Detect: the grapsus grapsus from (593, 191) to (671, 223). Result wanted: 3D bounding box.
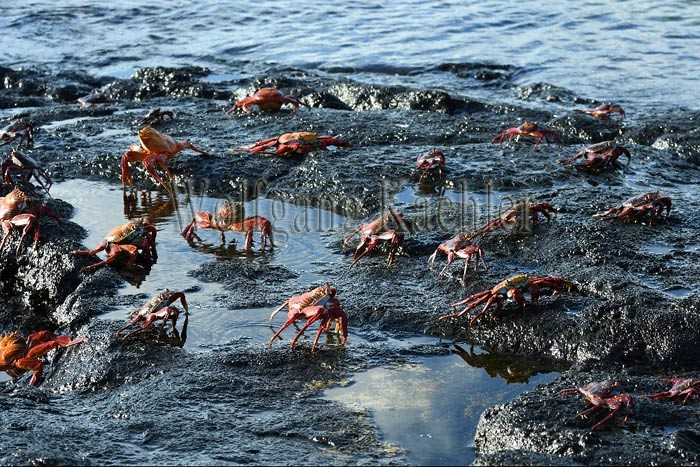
[{"bbox_3d":[4.762,-0.431,21.524,0.960,0.266,0.648,-1,6,1],"label":"grapsus grapsus"}]

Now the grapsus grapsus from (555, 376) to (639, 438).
[{"bbox_3d":[3.594,2.469,18.779,0.869,0.596,0.560,-4,16,-11],"label":"grapsus grapsus"}]

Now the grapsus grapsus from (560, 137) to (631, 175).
[{"bbox_3d":[4.472,-1.418,23.222,1.169,0.339,1.004,-19,7,-20],"label":"grapsus grapsus"}]

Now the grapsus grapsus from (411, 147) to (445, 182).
[{"bbox_3d":[1.398,-1.206,22.878,0.565,0.555,0.402,0,16,3],"label":"grapsus grapsus"}]

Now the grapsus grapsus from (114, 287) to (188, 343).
[{"bbox_3d":[-3.027,1.233,19.911,0.999,0.348,0.693,-39,29,-23],"label":"grapsus grapsus"}]

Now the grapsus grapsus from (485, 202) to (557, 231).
[{"bbox_3d":[2.839,-0.282,21.338,1.427,0.476,0.450,-7,17,-27],"label":"grapsus grapsus"}]

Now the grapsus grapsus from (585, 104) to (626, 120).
[{"bbox_3d":[5.159,-2.487,26.222,0.672,0.181,0.411,8,17,-11],"label":"grapsus grapsus"}]
